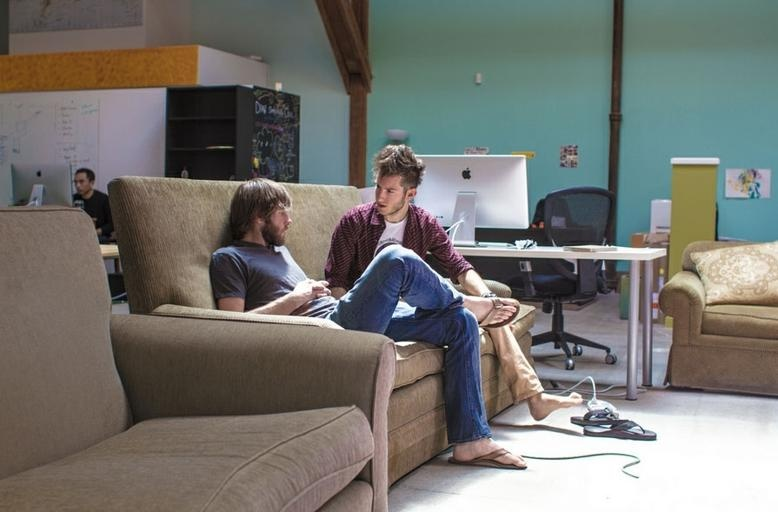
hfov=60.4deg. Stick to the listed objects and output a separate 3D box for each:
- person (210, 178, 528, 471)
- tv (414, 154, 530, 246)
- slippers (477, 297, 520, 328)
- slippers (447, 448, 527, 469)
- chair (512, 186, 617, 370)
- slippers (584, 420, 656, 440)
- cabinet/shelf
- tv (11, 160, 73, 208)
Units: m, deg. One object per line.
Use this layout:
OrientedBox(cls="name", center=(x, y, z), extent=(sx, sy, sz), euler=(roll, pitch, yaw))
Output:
OrientedBox(cls="person", center=(-0.131, 0.274, 3.220), extent=(1.455, 1.367, 0.693), euler=(-3, -7, 15))
OrientedBox(cls="tv", center=(0.511, -0.395, 4.391), extent=(0.757, 0.535, 0.256), euler=(5, 20, 24))
OrientedBox(cls="slippers", center=(0.540, 0.268, 3.254), extent=(0.245, 0.098, 0.072), euler=(-2, 16, 2))
OrientedBox(cls="slippers", center=(0.464, 0.945, 3.076), extent=(0.328, 0.077, 0.126), euler=(-1, -5, 6))
OrientedBox(cls="chair", center=(1.340, 0.160, 5.260), extent=(0.848, 1.323, 0.840), euler=(-2, 5, -26))
OrientedBox(cls="slippers", center=(1.192, 0.892, 3.449), extent=(0.282, 0.072, 0.139), euler=(-1, -2, 11))
OrientedBox(cls="cabinet/shelf", center=(-2.153, -1.463, 7.961), extent=(1.161, 1.076, 0.414), euler=(5, 11, 26))
OrientedBox(cls="tv", center=(-2.718, -0.543, 5.157), extent=(0.496, 0.346, 0.215), euler=(1, -1, 2))
